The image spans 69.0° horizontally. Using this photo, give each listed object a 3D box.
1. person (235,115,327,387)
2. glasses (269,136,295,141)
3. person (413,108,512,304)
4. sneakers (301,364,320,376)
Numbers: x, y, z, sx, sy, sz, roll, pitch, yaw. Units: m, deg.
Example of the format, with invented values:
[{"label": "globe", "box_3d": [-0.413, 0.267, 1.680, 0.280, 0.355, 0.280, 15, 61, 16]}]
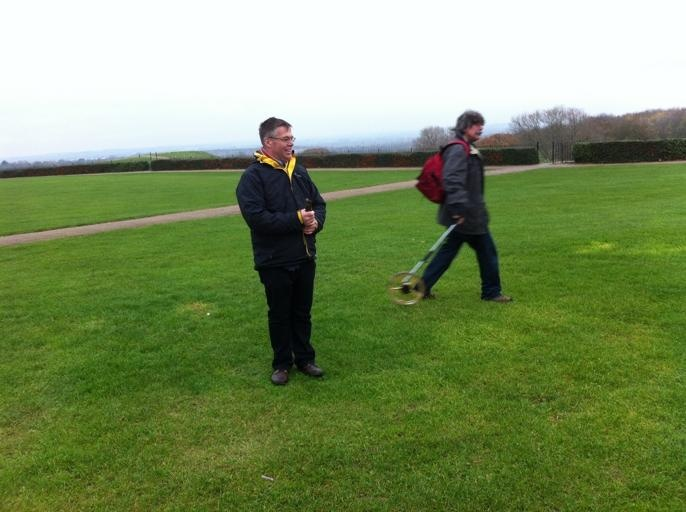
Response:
[{"label": "person", "box_3d": [-0.546, -0.047, 4.791, 0.790, 2.467, 0.578, -8, 14, -16]}, {"label": "glasses", "box_3d": [-0.559, -1.078, 4.582, 0.230, 0.061, 0.146, -8, 14, -16]}, {"label": "person", "box_3d": [1.479, -0.579, 6.257, 0.920, 2.389, 0.895, -13, 16, -34]}, {"label": "sneakers", "box_3d": [-0.306, 1.130, 4.892, 0.076, 0.083, 0.210, 2, -7, 44]}]
